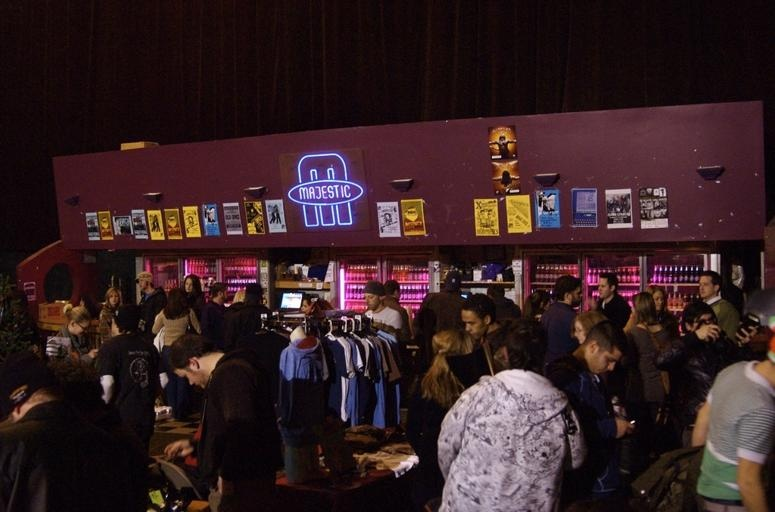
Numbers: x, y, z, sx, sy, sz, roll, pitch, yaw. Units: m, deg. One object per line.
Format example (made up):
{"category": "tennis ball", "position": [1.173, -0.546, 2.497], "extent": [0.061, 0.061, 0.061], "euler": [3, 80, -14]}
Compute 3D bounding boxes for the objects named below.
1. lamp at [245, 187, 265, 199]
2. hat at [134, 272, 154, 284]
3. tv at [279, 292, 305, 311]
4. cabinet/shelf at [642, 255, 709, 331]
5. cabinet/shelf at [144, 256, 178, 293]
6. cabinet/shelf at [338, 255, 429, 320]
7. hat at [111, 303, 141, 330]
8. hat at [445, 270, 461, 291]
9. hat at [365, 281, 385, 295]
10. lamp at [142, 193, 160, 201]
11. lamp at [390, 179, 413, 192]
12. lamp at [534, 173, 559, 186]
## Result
{"category": "lamp", "position": [-2.295, -1.110, 11.171], "extent": [0.427, 0.194, 0.164], "euler": [-4, -4, 30]}
{"category": "hat", "position": [-3.946, 0.302, 10.418], "extent": [0.244, 0.146, 0.188], "euler": [12, 9, 17]}
{"category": "tv", "position": [-1.776, 0.818, 12.067], "extent": [0.467, 0.332, 0.345], "euler": [2, 0, 9]}
{"category": "cabinet/shelf", "position": [4.553, 0.614, 10.048], "extent": [0.809, 0.611, 1.238], "euler": [-5, 32, 29]}
{"category": "cabinet/shelf", "position": [-4.389, 0.314, 12.481], "extent": [0.635, 0.689, 0.495], "euler": [1, 6, 10]}
{"category": "cabinet/shelf", "position": [-0.004, 0.466, 10.600], "extent": [1.010, 1.037, 0.377], "euler": [0, 1, 21]}
{"category": "hat", "position": [-2.675, 0.602, 6.613], "extent": [0.221, 0.222, 0.252], "euler": [20, 2, -35]}
{"category": "hat", "position": [0.915, 0.320, 9.025], "extent": [0.191, 0.272, 0.252], "euler": [7, -44, 5]}
{"category": "hat", "position": [-0.135, 0.438, 8.426], "extent": [0.199, 0.132, 0.198], "euler": [7, -1, -36]}
{"category": "lamp", "position": [-4.356, -1.123, 12.001], "extent": [0.427, 0.165, 0.137], "euler": [-4, -4, 28]}
{"category": "lamp", "position": [0.239, -1.140, 10.257], "extent": [0.375, 0.199, 0.149], "euler": [-4, -4, 31]}
{"category": "lamp", "position": [2.359, -1.145, 9.536], "extent": [0.370, 0.195, 0.141], "euler": [-3, -3, 16]}
